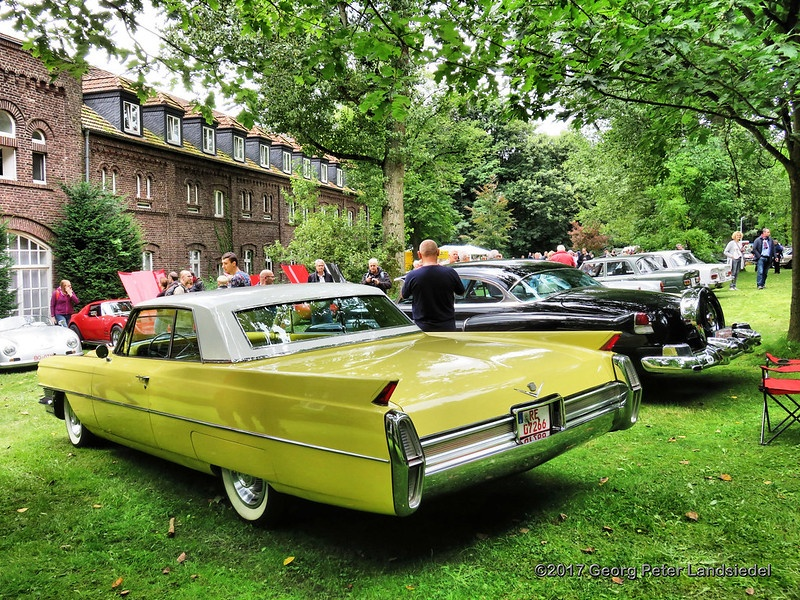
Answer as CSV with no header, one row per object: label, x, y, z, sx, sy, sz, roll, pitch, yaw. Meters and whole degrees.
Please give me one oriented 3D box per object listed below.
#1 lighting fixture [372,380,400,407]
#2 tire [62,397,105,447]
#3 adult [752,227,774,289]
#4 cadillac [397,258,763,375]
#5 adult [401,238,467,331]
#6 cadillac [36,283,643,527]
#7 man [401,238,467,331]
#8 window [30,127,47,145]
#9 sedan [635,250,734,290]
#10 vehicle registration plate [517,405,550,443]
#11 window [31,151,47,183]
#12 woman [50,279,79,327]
lighting fixture,-0.097,0.648,4.169,0.158,0.184,0.141,-9,13,-25
tire,-3.815,1.427,7.272,0.267,0.677,0.712,-8,3,-42
adult,11.890,-1.369,19.674,0.782,1.904,0.608,-3,6,-25
cadillac,2.229,0.105,8.450,4.639,1.118,2.067,4,5,36
adult,0.478,0.169,8.324,0.934,2.078,0.628,-1,28,7
cadillac,-1.202,0.708,5.668,4.889,1.270,2.335,5,8,36
man,0.473,0.161,8.334,0.908,2.075,0.640,-1,27,6
window,-11.963,-5.476,19.959,0.224,0.497,0.571,-2,11,6
sedan,8.205,-0.872,17.427,2.899,0.822,1.783,6,9,41
vehicle registration plate,1.046,0.949,4.662,0.426,0.243,0.010,-5,2,-41
window,-11.953,-4.478,20.017,0.354,0.996,0.608,-6,12,-11
woman,-8.823,0.329,15.976,0.736,1.692,0.641,-2,2,-33
